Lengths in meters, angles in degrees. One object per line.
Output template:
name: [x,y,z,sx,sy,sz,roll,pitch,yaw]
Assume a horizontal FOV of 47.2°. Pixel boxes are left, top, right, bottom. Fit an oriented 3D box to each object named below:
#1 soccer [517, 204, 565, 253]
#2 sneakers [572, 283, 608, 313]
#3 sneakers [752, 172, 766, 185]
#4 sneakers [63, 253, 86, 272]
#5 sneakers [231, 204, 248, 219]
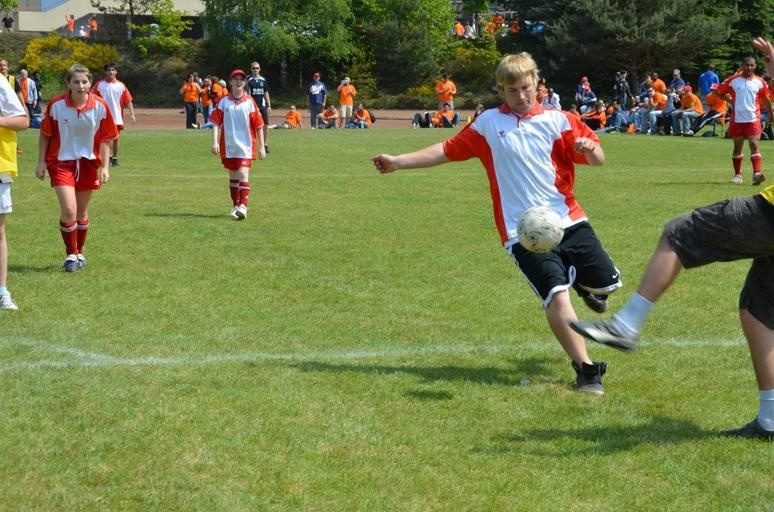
soccer: [1.440,-0.234,8.310,0.426,0.437,0.417,-17,-5,34]
sneakers: [1.985,0.406,8.626,0.209,0.164,0.497,-28,-47,26]
sneakers: [6.968,-1.447,16.605,0.167,0.183,0.394,-6,-8,6]
sneakers: [-4.038,0.091,11.415,0.218,0.225,0.577,-2,-2,-15]
sneakers: [-2.394,-0.700,14.280,0.160,0.158,0.333,-1,-9,-1]
